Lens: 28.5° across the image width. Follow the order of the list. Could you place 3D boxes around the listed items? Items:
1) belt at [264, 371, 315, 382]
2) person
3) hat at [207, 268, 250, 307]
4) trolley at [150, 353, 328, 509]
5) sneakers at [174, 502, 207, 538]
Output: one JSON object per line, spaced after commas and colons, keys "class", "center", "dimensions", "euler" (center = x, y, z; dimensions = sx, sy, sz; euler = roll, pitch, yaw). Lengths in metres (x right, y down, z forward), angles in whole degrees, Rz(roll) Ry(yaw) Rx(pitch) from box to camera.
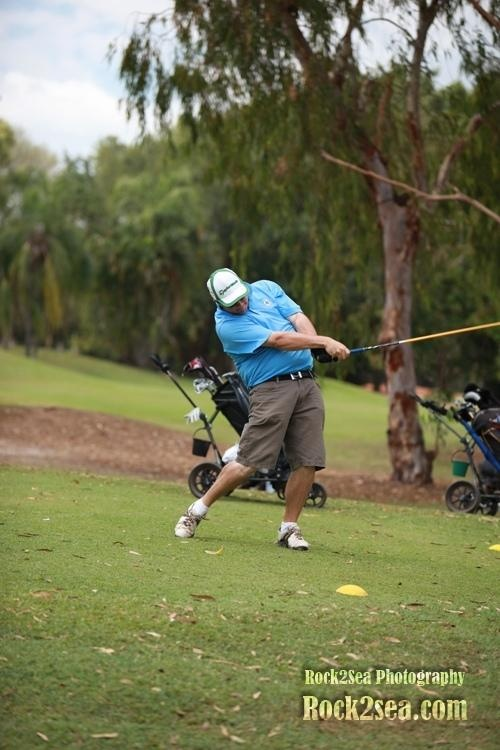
{"class": "belt", "center": [0.240, 0.001, 5.275], "dimensions": [0.294, 0.070, 0.090], "euler": [1, 9, -41]}
{"class": "person", "center": [0.075, 0.201, 5.320], "dimensions": [0.787, 1.497, 0.636], "euler": [8, 7, -2]}
{"class": "hat", "center": [-0.119, -0.466, 5.231], "dimensions": [0.202, 0.206, 0.252], "euler": [7, 7, -1]}
{"class": "trolley", "center": [-0.103, 0.416, 8.028], "dimensions": [1.553, 1.255, 0.818], "euler": [1, -5, -5]}
{"class": "sneakers", "center": [-0.325, 0.808, 5.421], "dimensions": [0.080, 0.217, 0.092], "euler": [45, -12, -14]}
